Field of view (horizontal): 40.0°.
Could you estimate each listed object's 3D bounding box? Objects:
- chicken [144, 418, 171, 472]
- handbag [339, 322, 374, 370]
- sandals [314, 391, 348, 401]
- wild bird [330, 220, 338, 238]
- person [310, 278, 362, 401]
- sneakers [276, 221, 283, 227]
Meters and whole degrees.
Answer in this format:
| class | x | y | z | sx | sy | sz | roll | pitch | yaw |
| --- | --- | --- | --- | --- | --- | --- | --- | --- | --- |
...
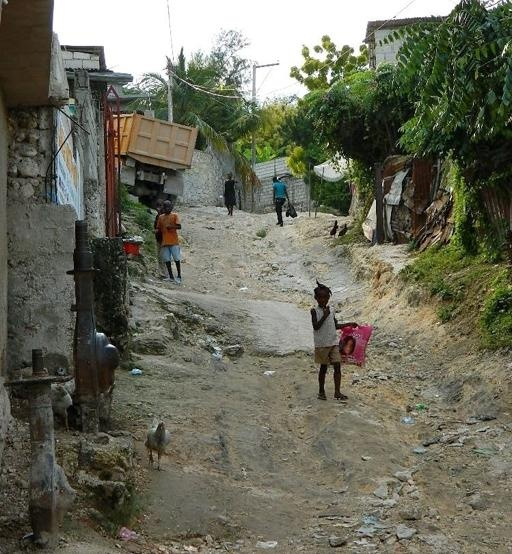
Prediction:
| class | x | y | z | sx | sy | sz | roll | pitch | yaw |
| --- | --- | --- | --- | --- | --- | --- | --- | --- | --- |
| chicken | -0.744 | 1.229 | 5.295 | 0.179 | 0.386 | 0.422 | -3 | 10 | -10 |
| handbag | 1.056 | 0.701 | 7.415 | 0.323 | 0.441 | 0.370 | 4 | 4 | 18 |
| sandals | 0.779 | 1.173 | 7.156 | 0.303 | 0.128 | 0.106 | -2 | -2 | -6 |
| wild bird | 2.001 | -1.232 | 17.853 | 0.225 | 0.343 | 0.786 | 0 | 9 | 6 |
| person | 0.789 | 0.641 | 7.199 | 0.433 | 1.176 | 0.273 | -1 | 0 | -11 |
| sneakers | 0.703 | -1.576 | 20.760 | 0.220 | 0.169 | 0.089 | 9 | 10 | 30 |
